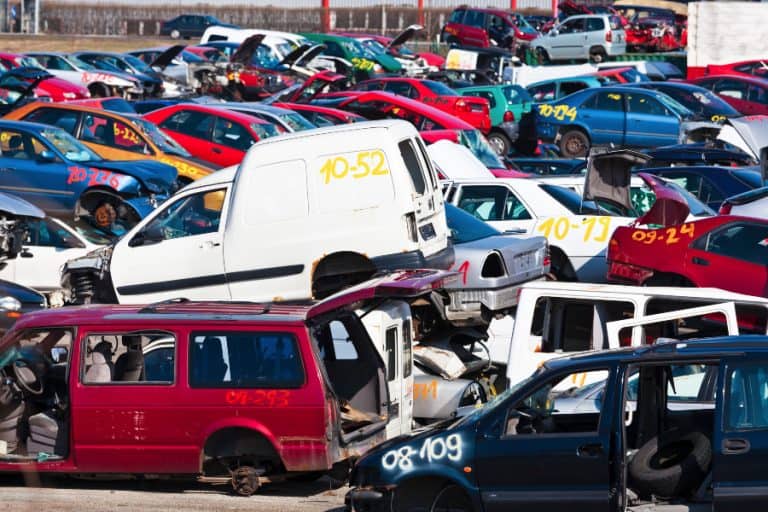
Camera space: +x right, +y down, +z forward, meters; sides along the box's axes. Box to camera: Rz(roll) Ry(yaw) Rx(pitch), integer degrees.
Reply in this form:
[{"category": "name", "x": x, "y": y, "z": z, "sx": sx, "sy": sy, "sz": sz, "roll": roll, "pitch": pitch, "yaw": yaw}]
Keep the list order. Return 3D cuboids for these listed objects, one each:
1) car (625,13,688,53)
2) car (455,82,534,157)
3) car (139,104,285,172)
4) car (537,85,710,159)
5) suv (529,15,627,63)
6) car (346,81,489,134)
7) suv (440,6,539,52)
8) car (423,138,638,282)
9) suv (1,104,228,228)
[{"category": "car", "x": 10.544, "y": -8.366, "z": 49.927, "sx": 2.058, "sy": 1.648, "sz": 5.612, "roll": 0, "pitch": 3, "yaw": 14}, {"category": "car", "x": 3.190, "y": -3.545, "z": 33.198, "sx": 2.482, "sy": 1.161, "sz": 1.374, "roll": 4, "pitch": 14, "yaw": 18}, {"category": "car", "x": -3.696, "y": -2.589, "z": 27.423, "sx": 3.189, "sy": 0.913, "sz": 1.361, "roll": 7, "pitch": 26, "yaw": 19}, {"category": "car", "x": 6.063, "y": -3.307, "z": 33.126, "sx": 4.500, "sy": 1.432, "sz": 1.860, "roll": -1, "pitch": 11, "yaw": 11}, {"category": "suv", "x": 7.042, "y": -7.778, "z": 47.060, "sx": 2.946, "sy": 1.300, "sz": 1.722, "roll": 5, "pitch": 11, "yaw": 23}, {"category": "car", "x": 1.325, "y": -3.977, "z": 32.992, "sx": 2.931, "sy": 0.885, "sz": 1.337, "roll": 19, "pitch": 19, "yaw": 30}, {"category": "suv", "x": 3.990, "y": -8.658, "z": 49.656, "sx": 3.925, "sy": 1.530, "sz": 2.235, "roll": 1, "pitch": 16, "yaw": 10}, {"category": "car", "x": 2.523, "y": -0.855, "z": 23.692, "sx": 3.667, "sy": 1.550, "sz": 2.120, "roll": 5, "pitch": 7, "yaw": 23}, {"category": "suv", "x": -5.291, "y": -1.939, "z": 27.000, "sx": 5.467, "sy": 1.591, "sz": 2.188, "roll": 8, "pitch": 9, "yaw": 7}]
